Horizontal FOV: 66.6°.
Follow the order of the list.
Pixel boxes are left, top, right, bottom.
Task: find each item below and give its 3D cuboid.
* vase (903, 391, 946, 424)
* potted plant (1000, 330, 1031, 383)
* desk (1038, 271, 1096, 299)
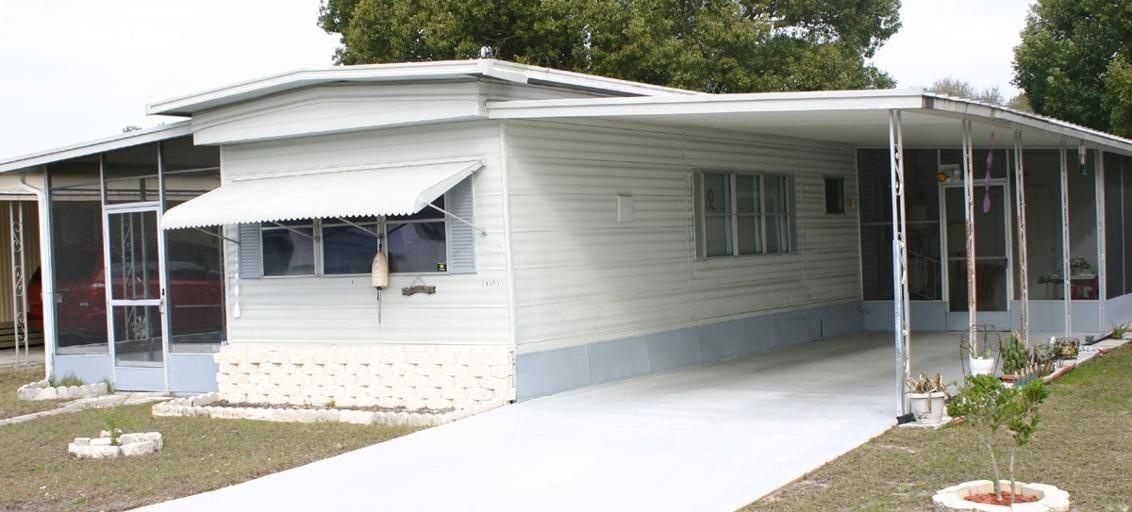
[{"bbox_3d":[7.213,3.022,17.332,0.785,0.424,0.699,-1,-4,20],"label":"vase"},{"bbox_3d":[9.819,2.114,18.757,0.623,0.741,0.599,-21,11,-33],"label":"potted plant"},{"bbox_3d":[13.742,0.782,23.318,1.439,0.522,0.823,-1,-4,21],"label":"desk"}]
